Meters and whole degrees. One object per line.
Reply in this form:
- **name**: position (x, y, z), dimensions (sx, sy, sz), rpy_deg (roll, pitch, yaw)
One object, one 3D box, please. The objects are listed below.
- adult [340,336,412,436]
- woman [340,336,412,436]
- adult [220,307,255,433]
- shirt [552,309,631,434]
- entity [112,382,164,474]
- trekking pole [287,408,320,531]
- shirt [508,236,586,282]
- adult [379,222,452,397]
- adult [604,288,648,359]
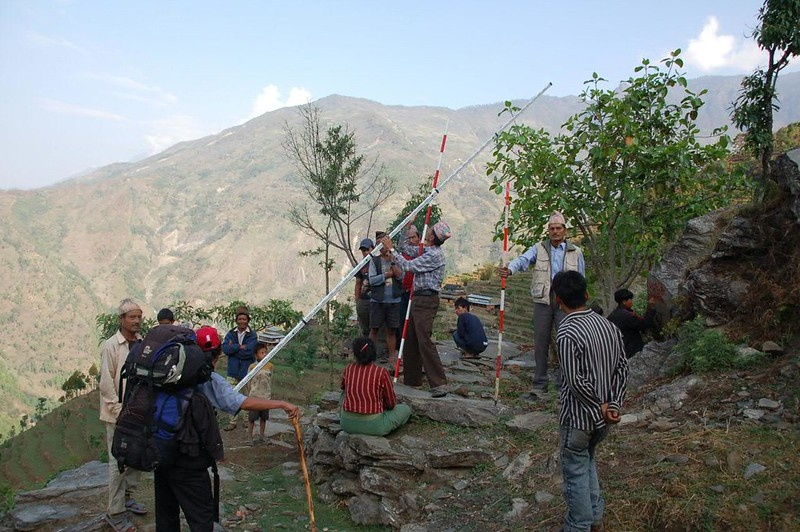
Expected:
- **adult**: position (-0.389, 1.888, 8.471), dimensions (1.219, 1.357, 1.055), rpy_deg (4, -1, 3)
- **woman**: position (-0.376, 1.863, 8.488), dimensions (1.231, 1.408, 1.055), rpy_deg (4, -2, -1)
- **adult**: position (-3.207, 2.088, 10.881), dimensions (0.823, 2.379, 0.657), rpy_deg (-1, -6, 1)
- **shirt**: position (2.132, 1.157, 5.989), dimensions (0.718, 1.297, 0.288), rpy_deg (-1, -5, 16)
- **entity**: position (-2.916, 1.767, 5.951), dimensions (0.534, 0.940, 0.224), rpy_deg (-1, -5, 16)
- **trekking pole**: position (-1.516, 3.251, 8.439), dimensions (0.234, 2.052, 0.232), rpy_deg (-10, -13, -5)
- **shirt**: position (2.331, -0.126, 8.742), dimensions (1.191, 0.823, 0.725), rpy_deg (11, 4, 42)
- **adult**: position (0.124, 0.688, 9.355), dimensions (1.603, 2.858, 1.333), rpy_deg (1, -3, 43)
- **adult**: position (4.105, 1.266, 9.654), dimensions (0.717, 1.681, 0.606), rpy_deg (-7, 15, 2)
